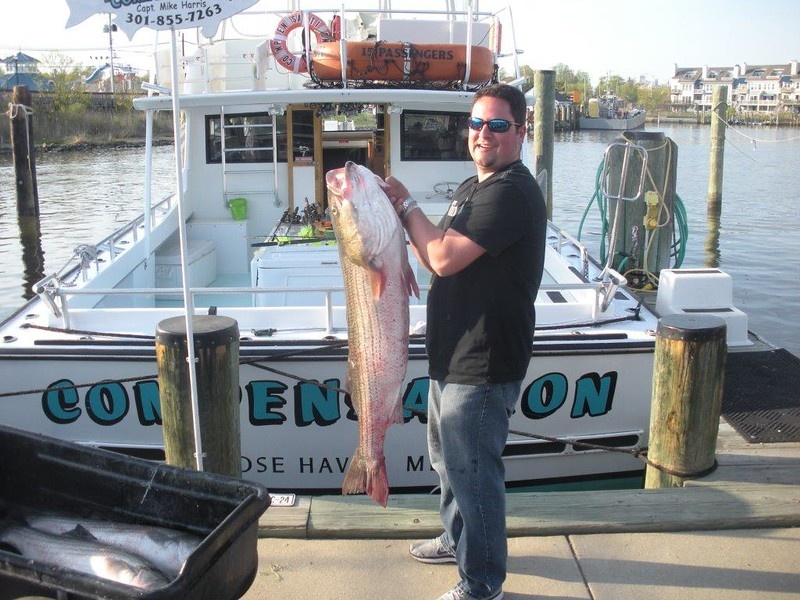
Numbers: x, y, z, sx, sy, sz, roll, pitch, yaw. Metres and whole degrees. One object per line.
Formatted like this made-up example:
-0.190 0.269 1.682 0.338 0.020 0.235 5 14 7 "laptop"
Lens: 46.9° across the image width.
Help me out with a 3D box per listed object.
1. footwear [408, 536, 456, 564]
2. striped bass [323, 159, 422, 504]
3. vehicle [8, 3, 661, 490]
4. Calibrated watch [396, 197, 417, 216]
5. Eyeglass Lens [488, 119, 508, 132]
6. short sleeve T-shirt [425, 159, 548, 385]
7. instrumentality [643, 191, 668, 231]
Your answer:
0.191 1.401 5.284 0.292 0.152 0.116 7 8 6 "footwear"
-0.128 0.207 4.743 0.437 1.811 0.285 -1 10 0 "striped bass"
-0.888 -0.801 9.038 3.118 2.692 6.101 1 18 -3 "vehicle"
0.057 -0.478 4.719 0.075 0.085 0.119 5 12 27 "Calibrated watch"
0.505 -0.875 4.680 0.118 0.067 0.029 0 11 6 "Eyeglass Lens"
0.469 -0.076 5.019 0.595 1.203 0.991 3 -10 -3 "short sleeve T-shirt"
3.062 -1.107 11.240 0.294 0.421 0.417 -2 -5 29 "instrumentality"
